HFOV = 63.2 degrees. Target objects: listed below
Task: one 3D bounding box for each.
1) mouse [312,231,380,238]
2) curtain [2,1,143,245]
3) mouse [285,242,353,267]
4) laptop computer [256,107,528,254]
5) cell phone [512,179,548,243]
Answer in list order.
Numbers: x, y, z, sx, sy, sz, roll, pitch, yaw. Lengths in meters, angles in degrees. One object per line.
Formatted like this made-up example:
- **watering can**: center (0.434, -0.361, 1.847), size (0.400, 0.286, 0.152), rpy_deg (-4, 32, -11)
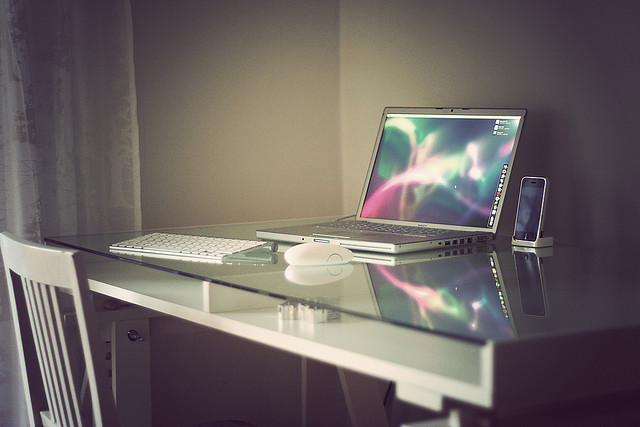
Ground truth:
- **mouse**: center (0.068, 0.056, 1.420), size (0.175, 0.016, 0.094), rpy_deg (0, 5, 16)
- **curtain**: center (-0.841, -0.323, 1.777), size (0.435, 0.832, 0.133), rpy_deg (-2, 3, -23)
- **mouse**: center (-0.001, 0.087, 1.159), size (0.124, 0.036, 0.057), rpy_deg (0, 1, -20)
- **laptop computer**: center (0.212, -0.119, 1.538), size (0.561, 0.358, 0.622), rpy_deg (-9, 10, -39)
- **cell phone**: center (0.585, -0.009, 1.438), size (0.078, 0.175, 0.079), rpy_deg (1, 3, 31)
